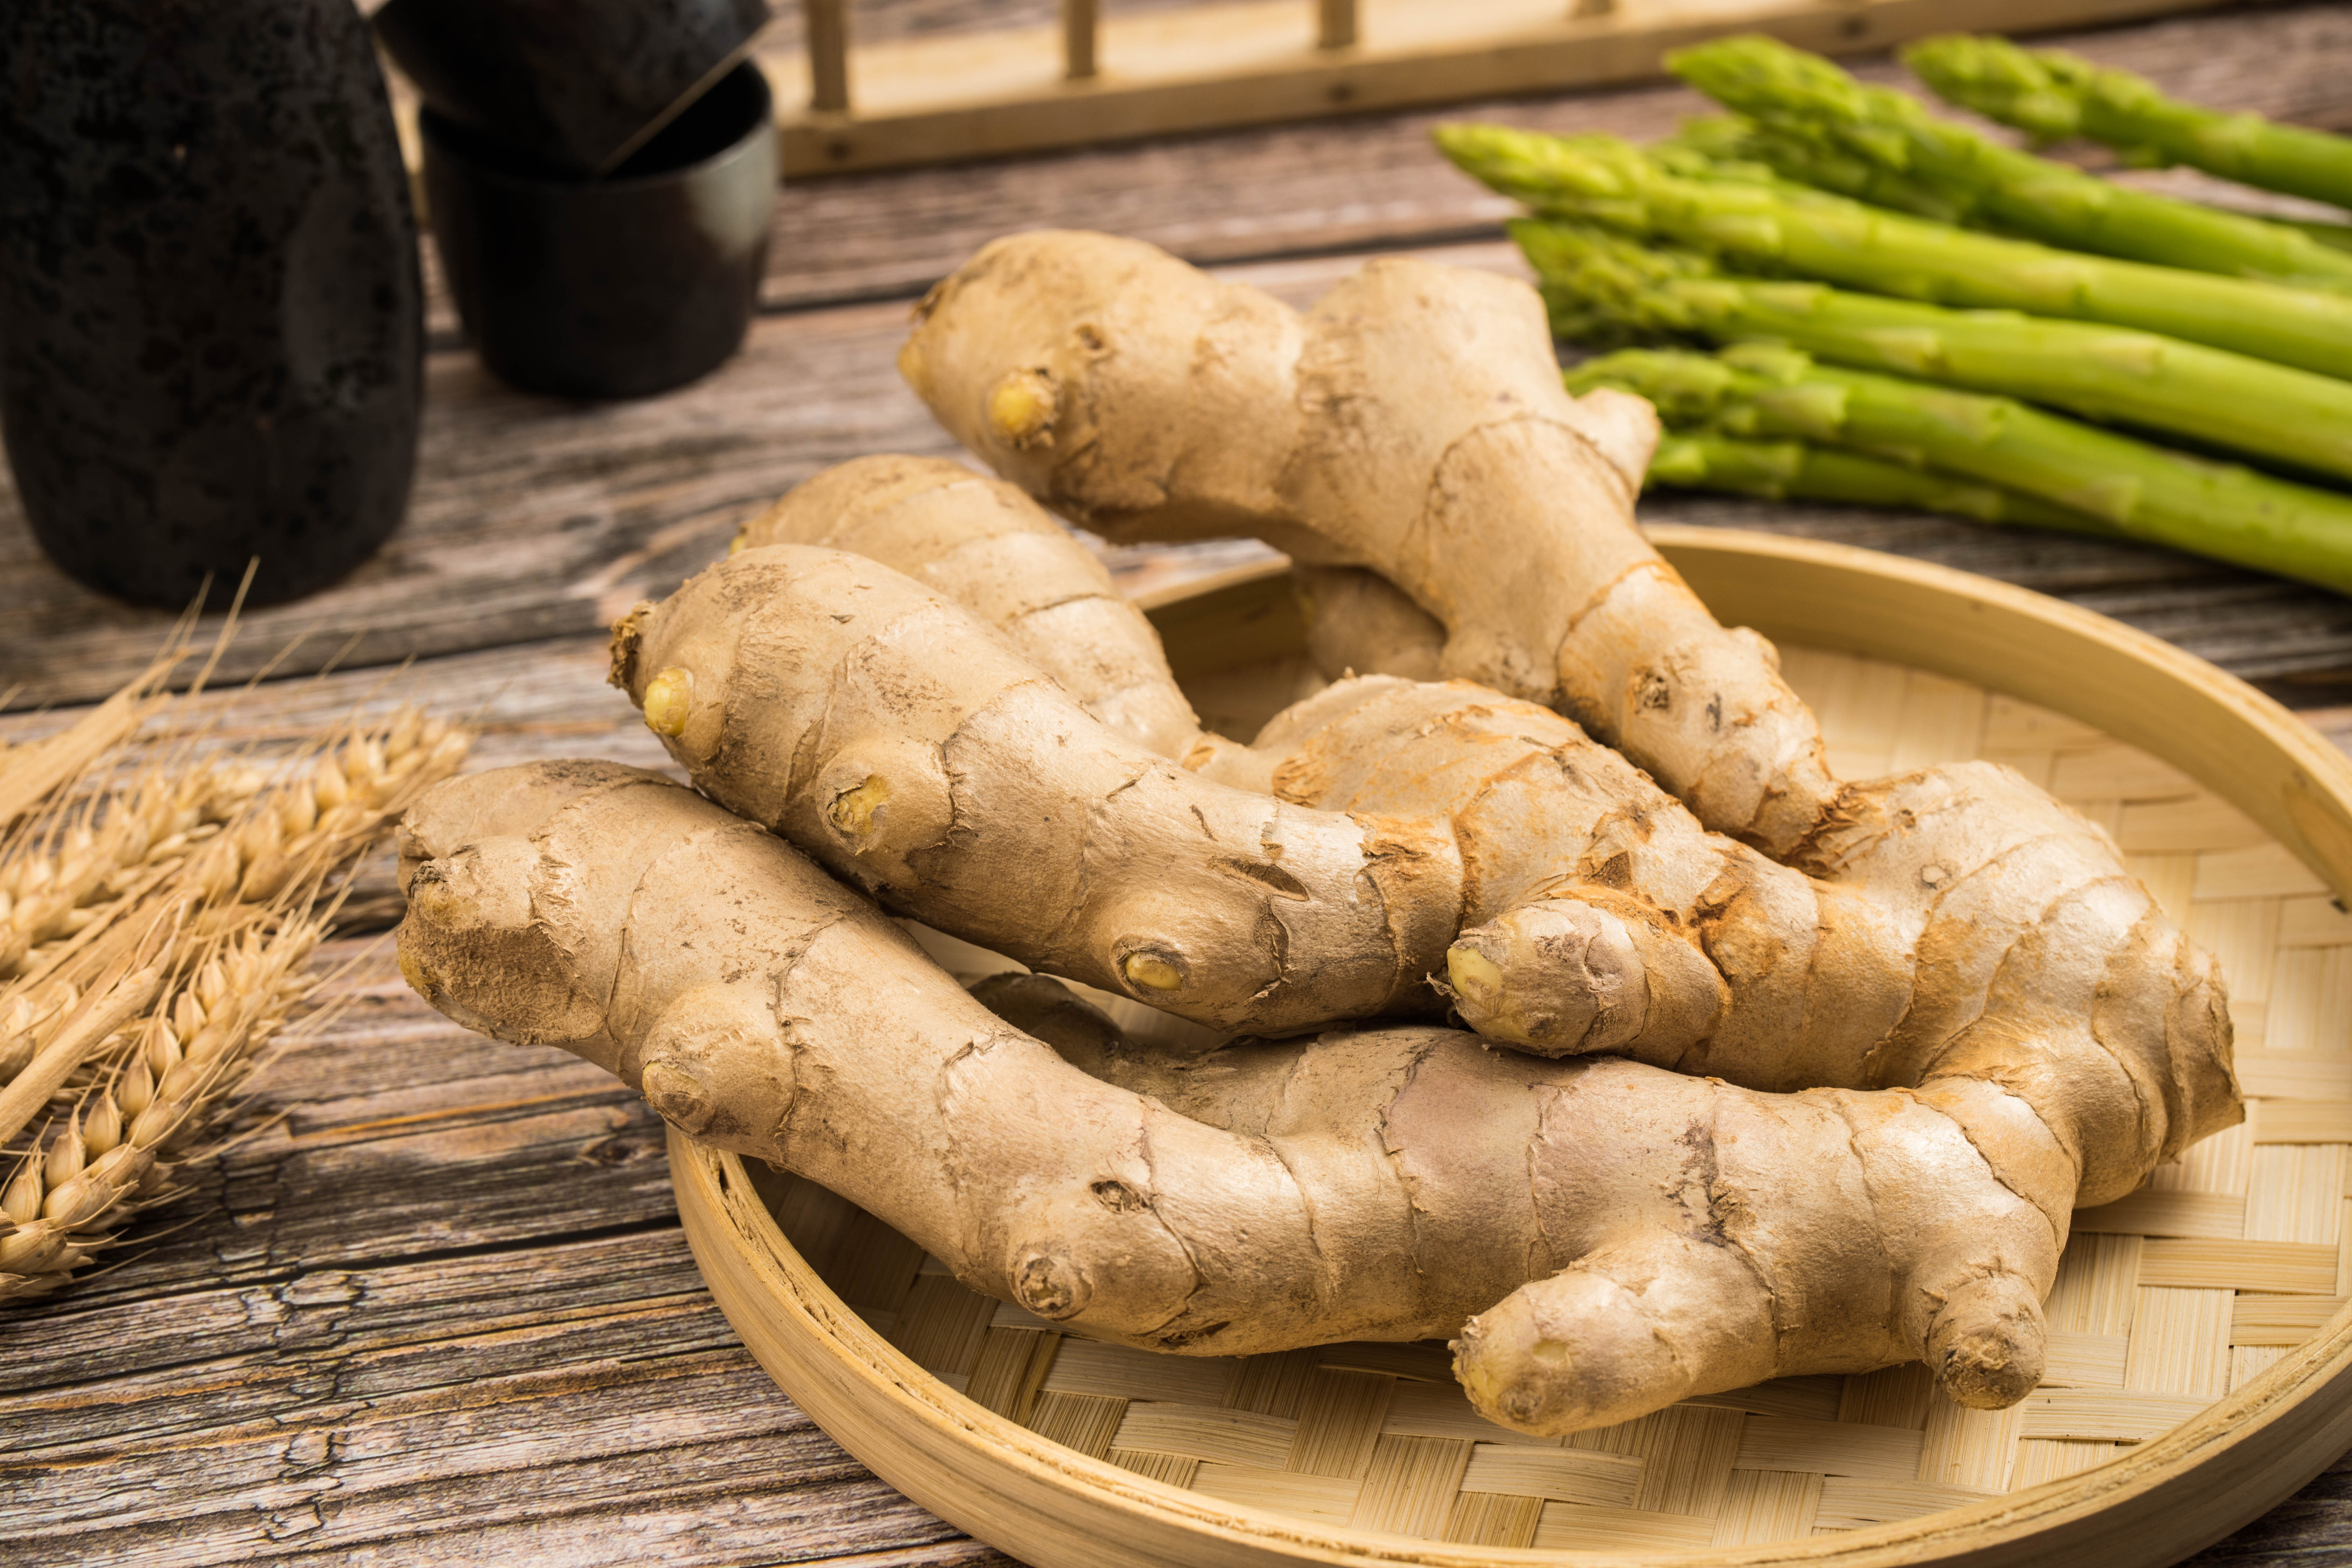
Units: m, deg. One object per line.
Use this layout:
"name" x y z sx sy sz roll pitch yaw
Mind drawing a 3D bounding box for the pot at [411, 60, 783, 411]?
"pot" -0.603 -0.542 2.438 0.357 0.265 0.352 0 35 0
